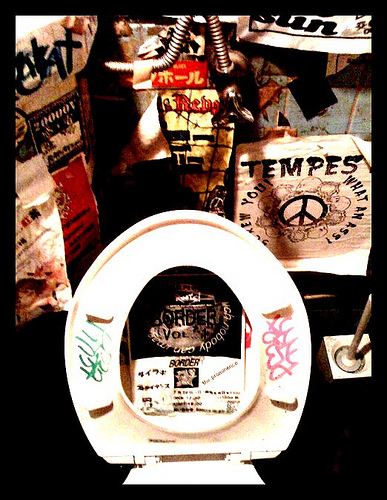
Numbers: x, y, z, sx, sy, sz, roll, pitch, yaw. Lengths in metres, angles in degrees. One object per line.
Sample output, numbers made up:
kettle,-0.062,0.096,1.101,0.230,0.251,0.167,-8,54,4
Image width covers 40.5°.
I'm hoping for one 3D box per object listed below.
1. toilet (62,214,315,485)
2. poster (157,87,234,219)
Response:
toilet,-0.013,0.294,1.492,0.679,0.404,0.690,-2,68,6
poster,0.009,-0.272,1.463,0.213,0.438,0.033,-3,46,-5
